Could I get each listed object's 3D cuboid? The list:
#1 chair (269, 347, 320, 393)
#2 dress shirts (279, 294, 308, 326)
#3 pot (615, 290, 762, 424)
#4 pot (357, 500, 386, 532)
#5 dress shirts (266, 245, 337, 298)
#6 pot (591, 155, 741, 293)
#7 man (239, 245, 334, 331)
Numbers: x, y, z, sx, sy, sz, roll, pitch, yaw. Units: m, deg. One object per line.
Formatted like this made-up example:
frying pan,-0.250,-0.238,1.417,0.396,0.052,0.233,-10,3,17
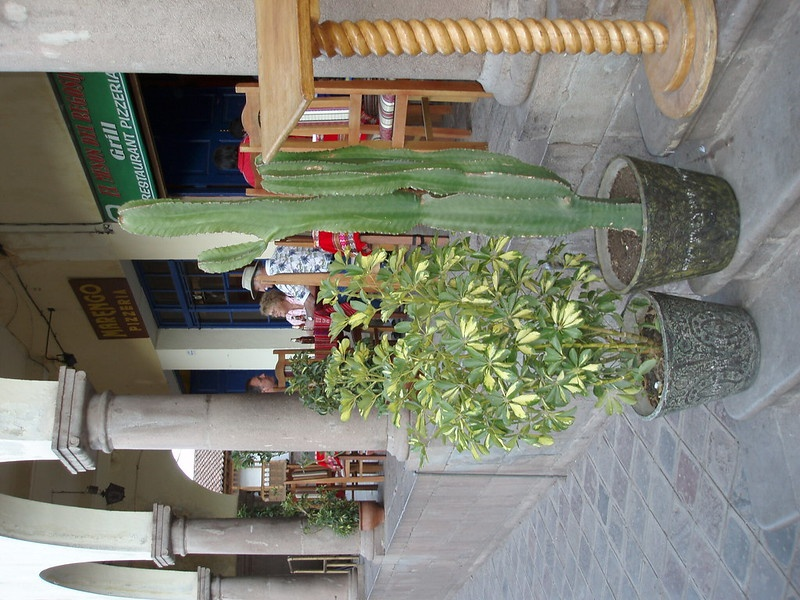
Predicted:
chair,-0.683,0.471,6.246,0.474,0.266,0.225,-1,26,-3
dress shirts,-0.711,0.096,6.579,0.219,0.202,0.089,3,15,0
pot,1.121,0.290,4.366,0.748,0.808,0.579,-7,85,32
pot,-0.233,1.770,7.723,0.171,0.211,0.208,3,57,3
dress shirts,-0.600,-0.183,5.866,0.365,0.194,0.256,-5,90,5
pot,1.057,-0.316,4.114,0.462,0.582,0.553,-2,20,-9
man,-0.740,-0.092,6.302,0.425,0.715,0.294,-23,75,24
